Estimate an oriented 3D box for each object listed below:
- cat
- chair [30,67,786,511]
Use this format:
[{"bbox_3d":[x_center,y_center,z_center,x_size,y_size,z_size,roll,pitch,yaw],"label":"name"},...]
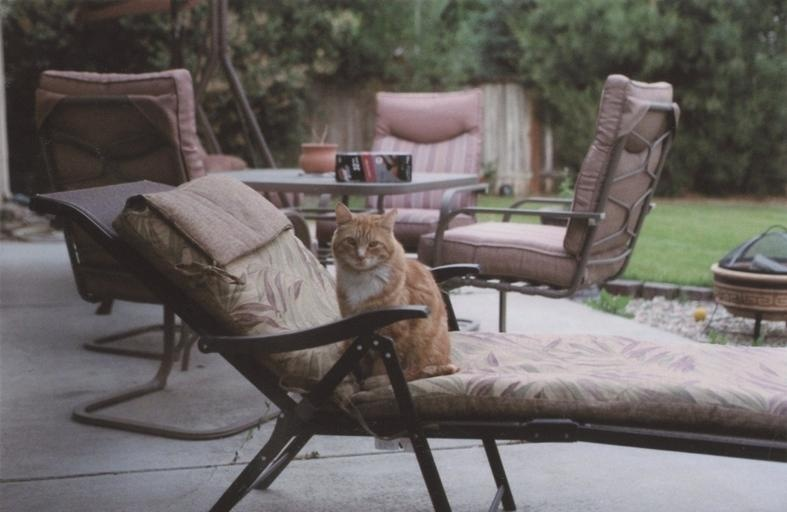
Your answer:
[{"bbox_3d":[-0.050,0.178,5.580,0.503,0.849,0.677,-1,-3,42],"label":"cat"},{"bbox_3d":[0.127,0.246,5.917,3.370,1.708,1.754,1,5,12],"label":"chair"}]
